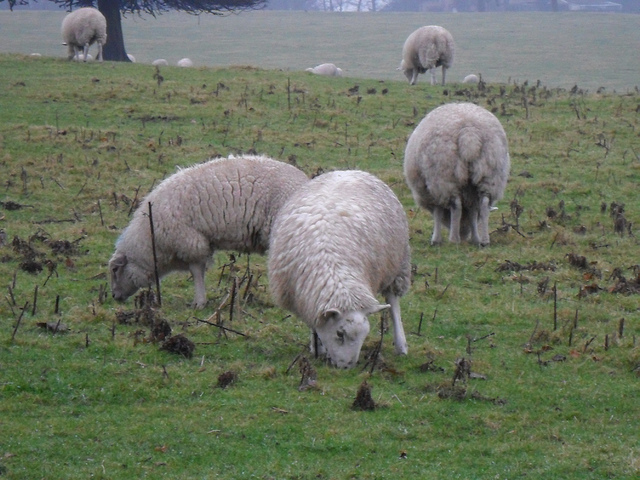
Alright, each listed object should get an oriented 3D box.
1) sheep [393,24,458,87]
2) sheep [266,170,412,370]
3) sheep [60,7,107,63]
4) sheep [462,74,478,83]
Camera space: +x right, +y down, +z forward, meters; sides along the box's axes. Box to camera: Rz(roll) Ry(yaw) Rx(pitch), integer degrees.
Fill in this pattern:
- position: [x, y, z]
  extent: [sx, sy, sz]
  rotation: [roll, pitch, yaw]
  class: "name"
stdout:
- position: [3.397, -5.710, 33.286]
  extent: [1.025, 1.811, 1.897]
  rotation: [0, 10, -13]
  class: "sheep"
- position: [0.349, 0.435, 16.680]
  extent: [2.153, 2.843, 1.875]
  rotation: [-1, 10, -19]
  class: "sheep"
- position: [-7.272, -6.370, 33.291]
  extent: [1.159, 1.676, 1.973]
  rotation: [-1, 10, -21]
  class: "sheep"
- position: [5.078, -5.367, 36.010]
  extent: [0.300, 0.297, 0.499]
  rotation: [-6, 18, -17]
  class: "sheep"
